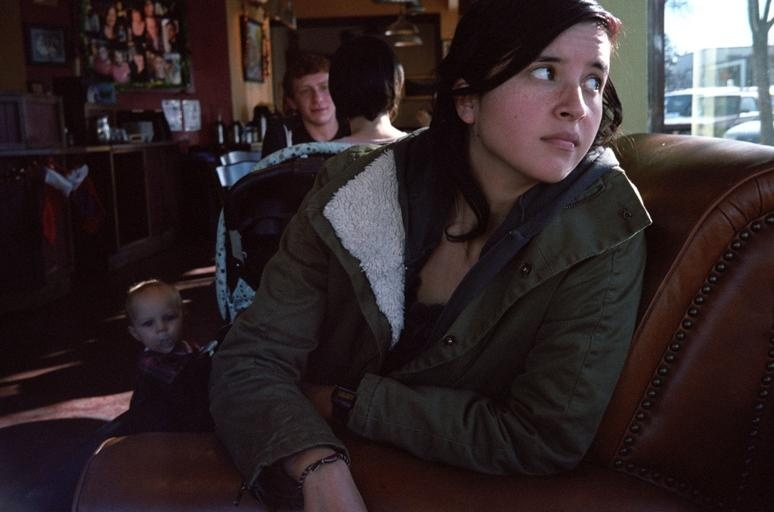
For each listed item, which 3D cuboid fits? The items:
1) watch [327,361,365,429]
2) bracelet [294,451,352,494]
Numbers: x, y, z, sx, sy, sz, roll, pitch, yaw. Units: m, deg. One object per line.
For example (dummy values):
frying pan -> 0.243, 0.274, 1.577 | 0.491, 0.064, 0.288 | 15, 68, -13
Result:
watch -> -0.114, 0.407, 1.730 | 0.058, 0.087, 0.100 | 10, 43, 5
bracelet -> -0.158, 0.521, 1.583 | 0.111, 0.031, 0.091 | -38, -15, -6
